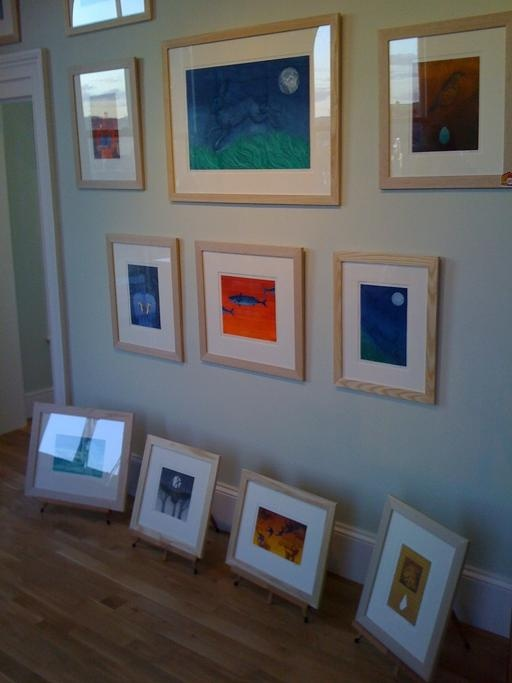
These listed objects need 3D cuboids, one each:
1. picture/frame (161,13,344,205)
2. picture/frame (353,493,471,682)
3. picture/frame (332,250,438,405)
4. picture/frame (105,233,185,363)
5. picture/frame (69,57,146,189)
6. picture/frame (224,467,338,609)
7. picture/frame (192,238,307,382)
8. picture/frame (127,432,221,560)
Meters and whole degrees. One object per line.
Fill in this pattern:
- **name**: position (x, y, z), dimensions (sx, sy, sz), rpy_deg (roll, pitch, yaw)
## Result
- **picture/frame**: position (0.005, -0.900, 2.002), dimensions (0.611, 0.665, 0.026), rpy_deg (10, 20, 33)
- **picture/frame**: position (0.526, 0.822, 1.730), dimensions (0.044, 0.547, 0.327), rpy_deg (15, 0, -36)
- **picture/frame**: position (0.452, -0.053, 1.872), dimensions (0.338, 0.559, 0.027), rpy_deg (8, 35, 23)
- **picture/frame**: position (-0.536, -0.234, 2.619), dimensions (0.438, 0.685, 0.022), rpy_deg (11, 17, 40)
- **picture/frame**: position (-0.697, -1.069, 2.530), dimensions (0.437, 0.688, 0.037), rpy_deg (14, 21, 41)
- **picture/frame**: position (0.110, 0.792, 2.074), dimensions (0.322, 0.433, 0.030), rpy_deg (11, 0, 40)
- **picture/frame**: position (-0.011, -0.148, 2.225), dimensions (0.431, 0.581, 0.019), rpy_deg (11, 18, 38)
- **picture/frame**: position (-0.354, 0.715, 2.385), dimensions (0.342, 0.549, 0.030), rpy_deg (6, -2, 36)
